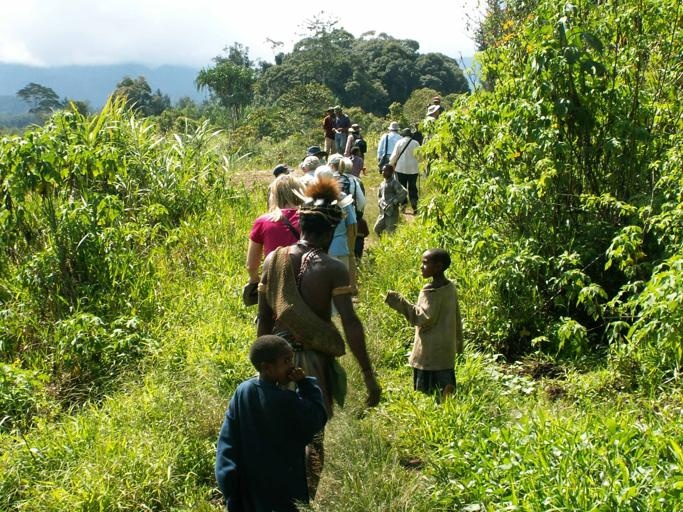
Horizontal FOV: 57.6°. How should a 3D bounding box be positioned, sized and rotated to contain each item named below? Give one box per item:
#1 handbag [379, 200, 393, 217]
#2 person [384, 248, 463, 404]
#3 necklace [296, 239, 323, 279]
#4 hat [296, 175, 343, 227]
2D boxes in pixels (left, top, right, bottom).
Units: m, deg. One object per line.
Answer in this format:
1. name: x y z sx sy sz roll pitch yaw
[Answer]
1. handbag: 0.783 -0.814 10.733 0.166 0.232 0.215 -3 -37 -1
2. person: 0.792 0.629 5.798 0.676 1.369 0.475 -2 2 3
3. necklace: -0.257 0.048 4.671 0.169 0.236 0.095 -2 2 -12
4. hat: -0.168 -0.368 4.897 0.317 0.371 0.379 6 -42 2
